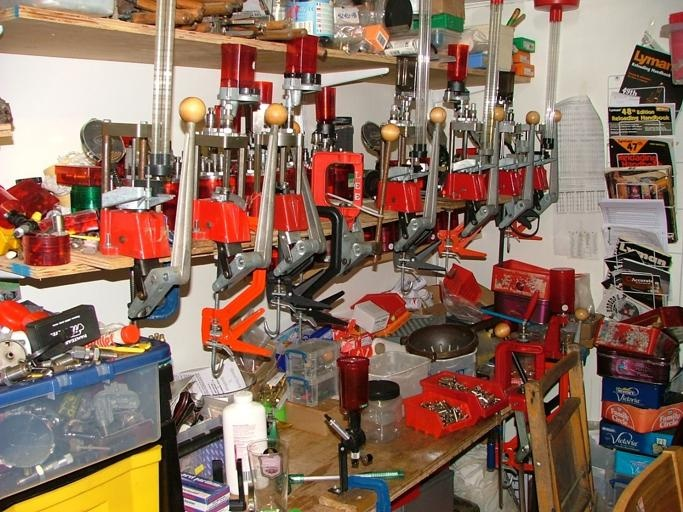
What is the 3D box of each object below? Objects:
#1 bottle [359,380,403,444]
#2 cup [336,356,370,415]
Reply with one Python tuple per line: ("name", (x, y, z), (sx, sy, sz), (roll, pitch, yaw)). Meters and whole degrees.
("bottle", (0.151, 0.574, 1.965), (0.183, 0.204, 0.190), (2, 10, 5))
("cup", (0.041, 0.436, 1.782), (0.102, 0.157, 0.187), (-1, 6, -4))
